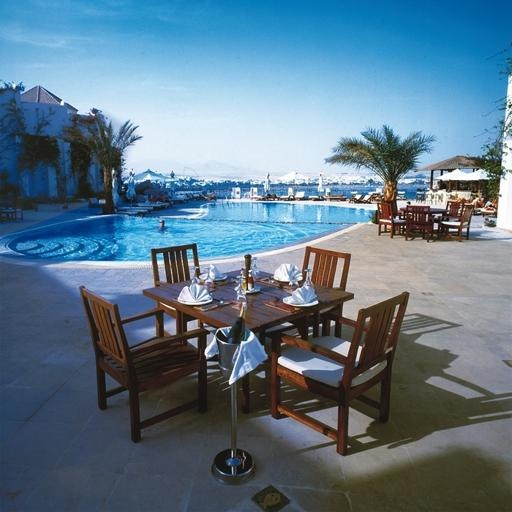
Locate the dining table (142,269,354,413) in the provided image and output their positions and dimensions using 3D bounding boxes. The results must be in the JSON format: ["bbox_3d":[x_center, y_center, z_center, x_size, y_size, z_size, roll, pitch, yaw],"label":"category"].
[{"bbox_3d":[-0.198,0.424,3.128,1.184,0.606,1.145,-11,15,-43],"label":"dining table"}]

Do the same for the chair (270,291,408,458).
[{"bbox_3d":[0.523,0.659,2.677,0.682,0.913,0.697,-12,18,-43],"label":"chair"}]

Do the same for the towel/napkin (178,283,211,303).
[{"bbox_3d":[-0.461,0.301,2.973,0.195,0.064,0.170,-1,35,-6],"label":"towel/napkin"}]

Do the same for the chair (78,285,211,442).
[{"bbox_3d":[-0.753,0.642,2.735,0.617,0.909,0.692,-11,17,-40],"label":"chair"}]
